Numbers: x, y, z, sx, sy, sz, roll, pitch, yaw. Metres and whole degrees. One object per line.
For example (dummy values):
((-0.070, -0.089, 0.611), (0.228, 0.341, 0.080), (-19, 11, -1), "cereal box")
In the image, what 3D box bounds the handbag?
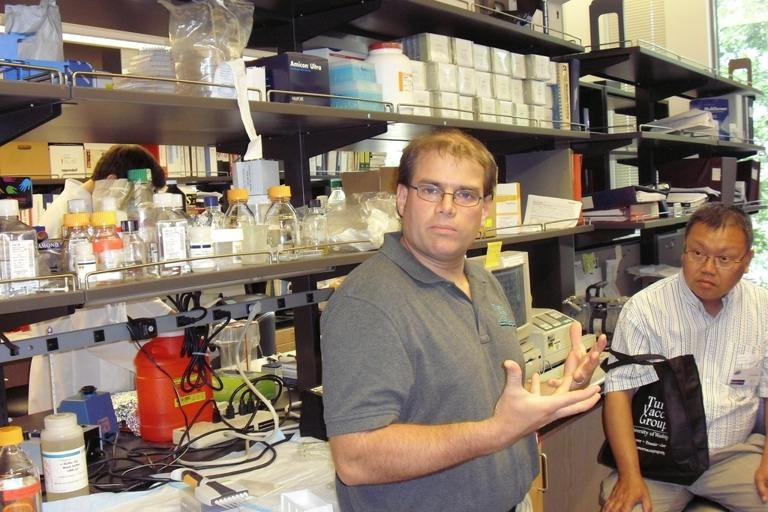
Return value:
((1.348, 0.709, 2.591), (0.472, 0.537, 0.404), (17, 17, 41), "handbag")

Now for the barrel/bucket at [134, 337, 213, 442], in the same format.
((-0.784, 0.487, 2.146), (0.272, 0.401, 0.224), (11, 10, 32), "barrel/bucket")

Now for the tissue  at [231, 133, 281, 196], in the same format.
((-0.487, -0.303, 2.093), (0.172, 0.144, 0.120), (-2, 14, -7), "tissue ")

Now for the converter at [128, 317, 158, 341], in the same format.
((-0.809, 0.244, 1.865), (0.059, 0.076, 0.100), (-8, -2, 34), "converter")

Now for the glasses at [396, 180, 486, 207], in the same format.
((0.193, -0.192, 1.705), (0.211, 0.068, 0.212), (-4, 9, -30), "glasses")

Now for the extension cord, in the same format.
((-0.582, 0.647, 2.051), (0.327, 0.063, 0.182), (-4, 6, -43), "extension cord")

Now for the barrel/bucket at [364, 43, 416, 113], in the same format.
((0.054, -0.757, 2.408), (0.240, 0.281, 0.207), (8, 13, 15), "barrel/bucket")
